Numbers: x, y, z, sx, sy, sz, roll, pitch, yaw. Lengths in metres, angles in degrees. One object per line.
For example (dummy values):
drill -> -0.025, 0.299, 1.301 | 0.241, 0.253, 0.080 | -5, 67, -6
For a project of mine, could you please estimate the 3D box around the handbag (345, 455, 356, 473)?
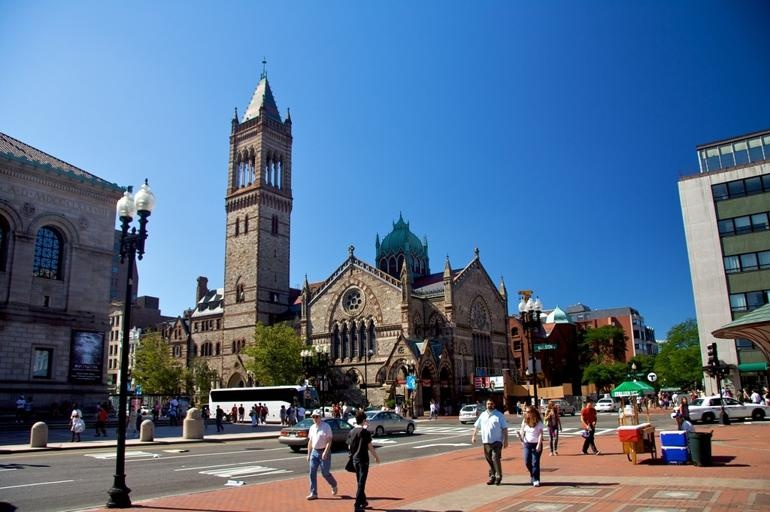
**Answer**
handbag -> -1.199, 7.263, 21.694 | 0.328, 0.602, 0.668 | -1, -15, -8

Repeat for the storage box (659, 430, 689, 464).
storage box -> 12.403, 8.186, 26.648 | 1.234, 1.432, 1.497 | -3, -10, 32

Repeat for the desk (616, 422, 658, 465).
desk -> 11.124, 8.282, 27.238 | 1.985, 1.589, 1.177 | 11, -21, -43

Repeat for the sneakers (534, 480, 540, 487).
sneakers -> 5.760, 8.584, 23.238 | 0.182, 0.241, 0.241 | 13, -18, -43
